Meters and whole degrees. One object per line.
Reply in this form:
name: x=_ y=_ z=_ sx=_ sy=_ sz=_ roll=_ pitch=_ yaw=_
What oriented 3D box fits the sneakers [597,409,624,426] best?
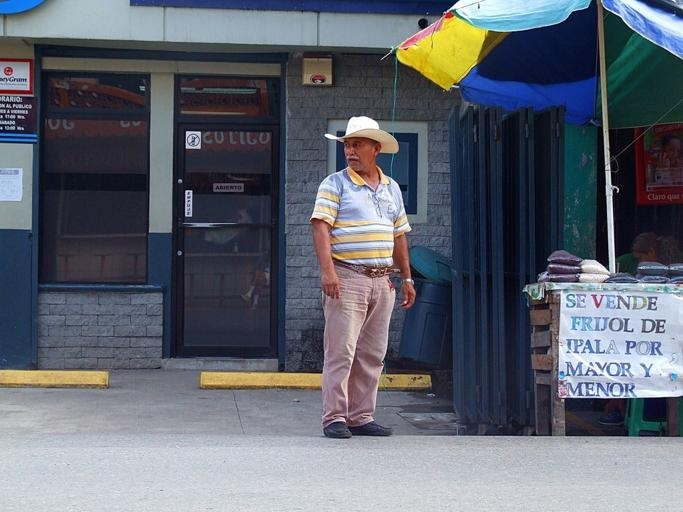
sneakers: x=2.617 y=1.585 z=11.986 sx=0.273 sy=0.118 sz=0.101 roll=1 pitch=-3 yaw=32

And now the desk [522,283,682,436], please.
desk: x=2.312 y=0.959 z=11.426 sx=1.369 sy=1.352 sz=1.347 roll=0 pitch=0 yaw=-3

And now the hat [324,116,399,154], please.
hat: x=0.277 y=-1.053 z=10.862 sx=0.479 sy=0.184 sz=0.452 roll=9 pitch=-10 yaw=-28

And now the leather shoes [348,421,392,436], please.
leather shoes: x=0.256 y=1.531 z=10.956 sx=0.410 sy=0.174 sz=0.138 roll=0 pitch=-3 yaw=-3

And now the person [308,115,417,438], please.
person: x=0.157 y=0.192 z=10.795 sx=0.977 sy=2.802 sz=0.372 roll=2 pitch=-2 yaw=-28

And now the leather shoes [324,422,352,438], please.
leather shoes: x=-0.039 y=1.524 z=10.680 sx=0.113 sy=0.086 sz=0.228 roll=2 pitch=-7 yaw=-28
